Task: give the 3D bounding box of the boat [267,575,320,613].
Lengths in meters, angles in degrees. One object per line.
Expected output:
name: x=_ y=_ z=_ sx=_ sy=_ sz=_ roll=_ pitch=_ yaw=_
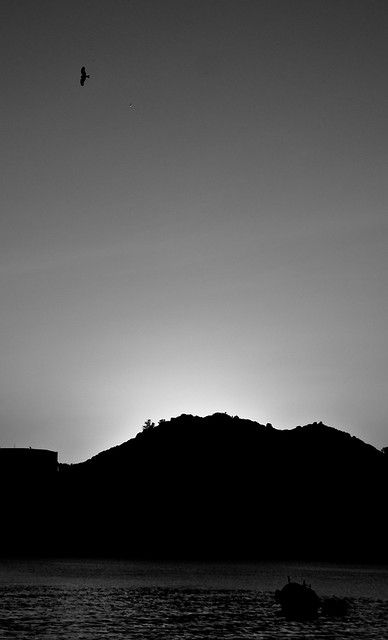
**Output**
boat: x=5.891 y=15.878 z=49.945 sx=1.992 sy=2.442 sz=0.865 roll=-2 pitch=-33 yaw=-6
